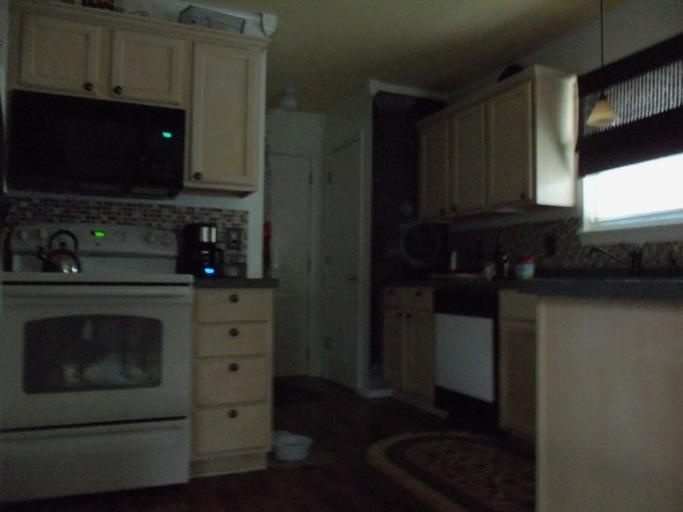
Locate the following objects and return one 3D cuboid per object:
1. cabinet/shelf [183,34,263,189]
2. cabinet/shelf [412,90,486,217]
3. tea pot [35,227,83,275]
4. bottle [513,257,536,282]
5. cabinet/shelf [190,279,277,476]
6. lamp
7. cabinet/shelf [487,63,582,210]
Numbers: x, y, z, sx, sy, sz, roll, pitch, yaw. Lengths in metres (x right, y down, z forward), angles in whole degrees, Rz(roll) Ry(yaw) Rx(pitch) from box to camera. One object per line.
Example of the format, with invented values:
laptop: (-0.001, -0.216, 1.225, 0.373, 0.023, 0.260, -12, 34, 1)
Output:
cabinet/shelf: (-0.657, -0.863, 3.772, 0.500, 0.898, 0.454, 5, 10, 6)
cabinet/shelf: (0.999, -0.732, 4.866, 0.328, 0.877, 0.878, 1, -2, -28)
tea pot: (-1.566, -0.030, 3.317, 0.214, 0.226, 0.204, 0, 4, 0)
bottle: (1.243, 0.096, 4.062, 0.165, 0.183, 0.164, 1, 0, -10)
cabinet/shelf: (-0.596, 0.615, 3.286, 0.442, 0.950, 0.162, -1, 4, -9)
lamp: (1.664, -1.245, 3.816, 0.180, 0.849, 0.570, 1, 4, 23)
cabinet/shelf: (1.329, -0.815, 4.190, 0.613, 0.937, 0.362, 1, 4, 14)
